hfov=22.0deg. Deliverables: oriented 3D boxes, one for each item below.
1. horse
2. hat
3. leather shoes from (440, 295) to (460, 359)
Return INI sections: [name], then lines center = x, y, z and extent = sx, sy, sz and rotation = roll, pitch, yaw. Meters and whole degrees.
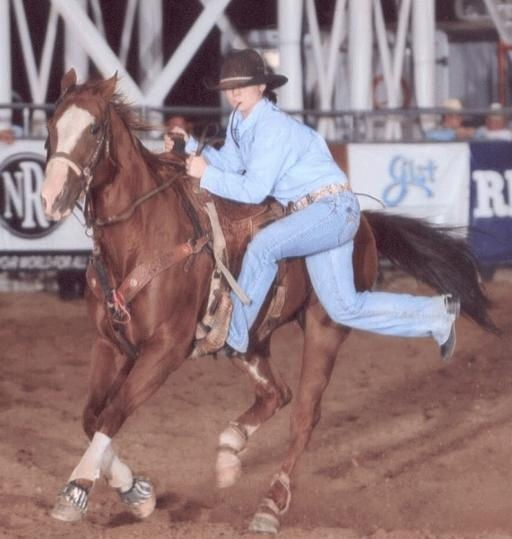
[horse]
center = -0.128, 0.183, 7.771
extent = 2.386, 2.563, 0.696
rotation = 0, 8, -26
[hat]
center = -0.012, -1.177, 7.736
extent = 0.267, 0.146, 0.314
rotation = -4, 3, 41
[leather shoes]
center = 1.156, 0.359, 7.841
extent = 0.105, 0.411, 0.098
rotation = 10, -8, -22
